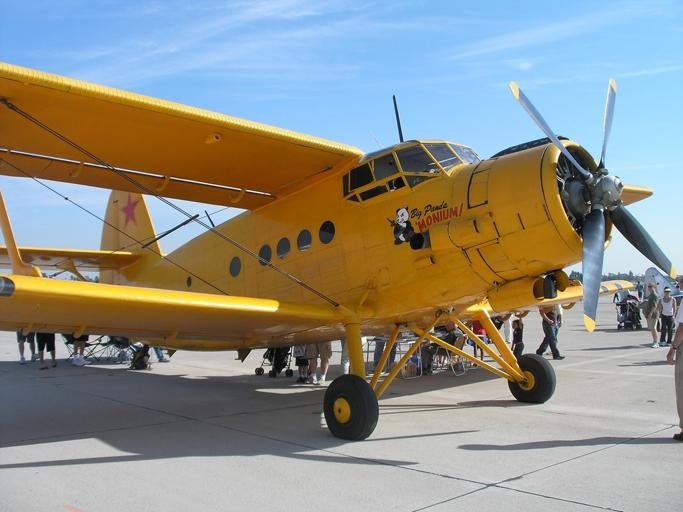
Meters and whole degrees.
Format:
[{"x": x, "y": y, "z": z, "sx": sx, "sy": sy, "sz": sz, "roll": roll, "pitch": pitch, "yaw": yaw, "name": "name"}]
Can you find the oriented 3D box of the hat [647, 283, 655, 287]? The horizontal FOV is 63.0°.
[{"x": 9.344, "y": 0.879, "z": 16.734, "sx": 0.293, "sy": 0.074, "sz": 0.256, "roll": 0, "pitch": -1, "yaw": 14, "name": "hat"}]
